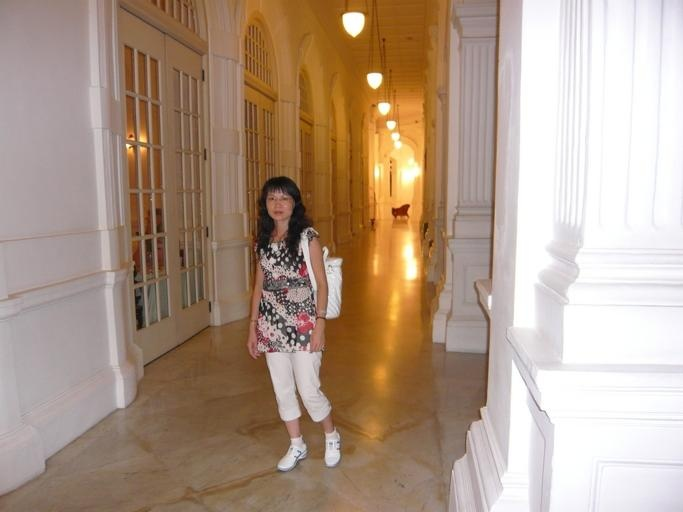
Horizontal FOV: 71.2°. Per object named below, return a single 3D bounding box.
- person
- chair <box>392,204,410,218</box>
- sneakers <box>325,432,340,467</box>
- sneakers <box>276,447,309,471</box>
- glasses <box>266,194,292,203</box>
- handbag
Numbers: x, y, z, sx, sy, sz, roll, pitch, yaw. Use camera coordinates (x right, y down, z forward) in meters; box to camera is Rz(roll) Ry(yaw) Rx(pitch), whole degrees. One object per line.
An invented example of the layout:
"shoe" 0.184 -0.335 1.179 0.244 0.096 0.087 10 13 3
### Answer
"person" -0.272 0.398 2.723 0.519 1.690 0.295 0 7 0
"chair" 3.281 -2.520 26.381 0.803 0.755 1.100 2 8 15
"sneakers" -0.060 1.139 2.860 0.082 0.114 0.259 -11 13 6
"sneakers" -0.289 1.179 2.847 0.080 0.097 0.211 -2 -1 27
"glasses" -0.346 -0.330 2.653 0.134 0.048 0.042 -1 8 -6
"handbag" -0.091 0.089 2.723 0.171 0.346 0.223 -1 7 -42
